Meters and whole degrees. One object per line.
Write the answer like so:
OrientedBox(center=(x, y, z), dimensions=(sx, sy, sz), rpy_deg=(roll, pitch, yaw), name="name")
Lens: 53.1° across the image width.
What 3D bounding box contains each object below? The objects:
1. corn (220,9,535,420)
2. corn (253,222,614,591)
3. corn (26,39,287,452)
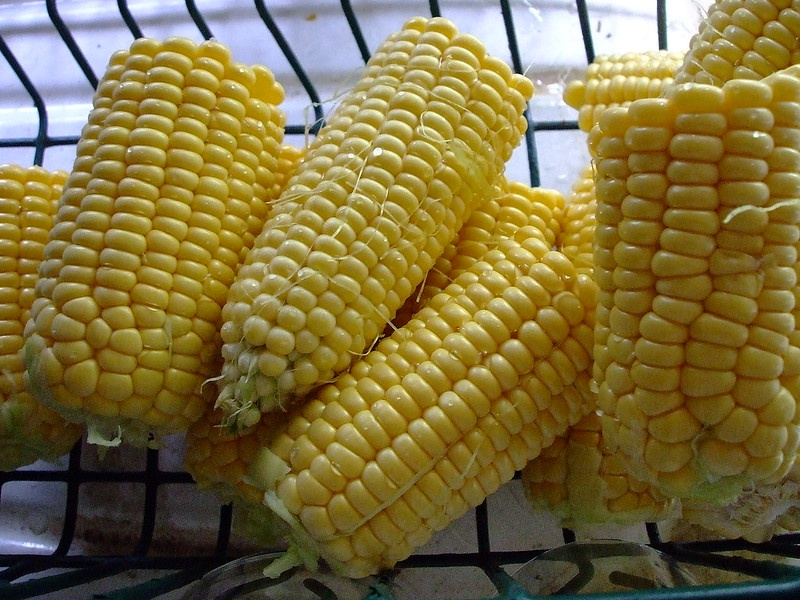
OrientedBox(center=(-0.049, -0.134, 1.420), dimensions=(0.288, 0.314, 0.820), rpy_deg=(33, 78, 37), name="corn")
OrientedBox(center=(0.092, 0.174, 1.372), dimensions=(0.795, 0.291, 0.288), rpy_deg=(-41, 10, -15), name="corn")
OrientedBox(center=(-0.432, -0.137, 1.430), dimensions=(0.306, 0.311, 0.739), rpy_deg=(-5, 65, 49), name="corn")
